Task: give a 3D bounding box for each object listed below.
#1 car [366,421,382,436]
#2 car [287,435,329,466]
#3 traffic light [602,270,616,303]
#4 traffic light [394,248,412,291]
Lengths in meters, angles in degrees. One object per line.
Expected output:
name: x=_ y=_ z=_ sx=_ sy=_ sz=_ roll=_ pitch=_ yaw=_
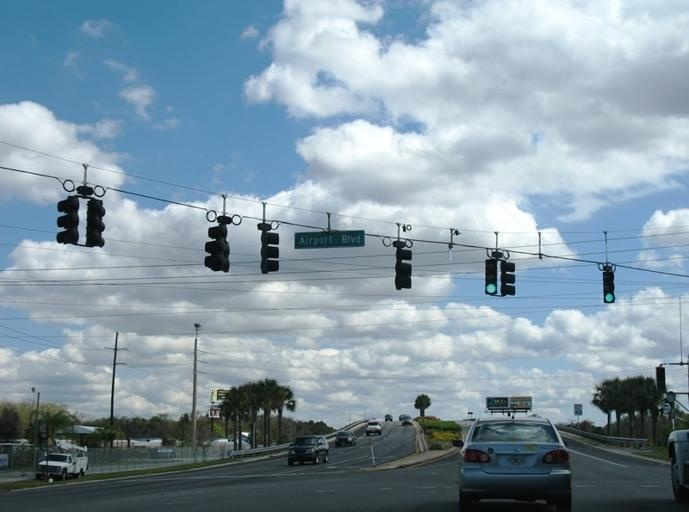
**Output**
car: x=3.369 y=20.302 z=110.151 sx=1.517 sy=1.331 sz=2.775 roll=1 pitch=1 yaw=2
car: x=-2.435 y=13.656 z=66.196 sx=2.299 sy=2.008 sz=3.018 roll=-3 pitch=-10 yaw=16
traffic light: x=12.853 y=1.484 z=46.152 sx=0.595 sy=1.644 sz=0.365 roll=3 pitch=-10 yaw=-17
traffic light: x=2.650 y=0.577 z=42.435 sx=0.675 sy=1.882 sz=0.812 roll=-2 pitch=-10 yaw=9
